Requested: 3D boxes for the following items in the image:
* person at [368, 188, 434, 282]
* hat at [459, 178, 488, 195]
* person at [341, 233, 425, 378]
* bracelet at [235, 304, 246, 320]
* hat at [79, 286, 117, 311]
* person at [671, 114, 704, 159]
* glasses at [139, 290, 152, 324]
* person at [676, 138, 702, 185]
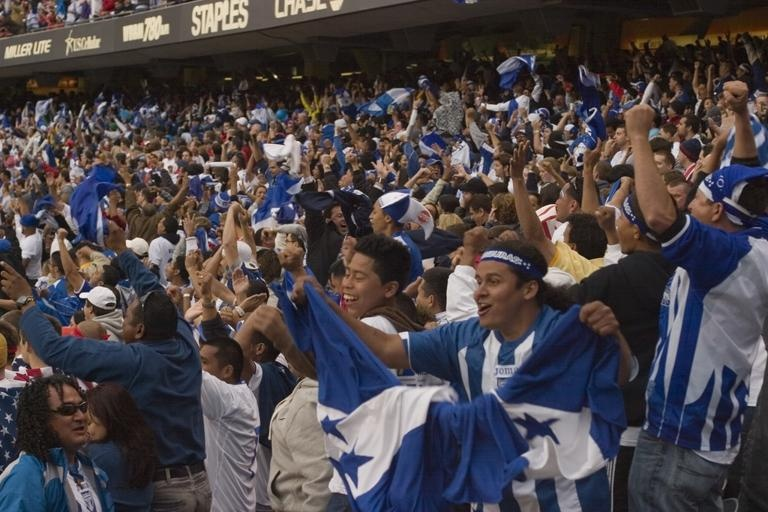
[{"bbox_3d":[0.175,-0.264,9.854,0.547,0.845,0.729,2,5,-12],"label":"person"},{"bbox_3d":[1.090,-0.840,11.215,0.253,0.153,0.178,2,6,-8],"label":"hat"},{"bbox_3d":[-0.079,0.277,7.576,0.561,1.036,1.026,-3,22,-20],"label":"person"},{"bbox_3d":[-1.387,0.533,9.116,0.075,0.119,0.112,-8,47,-45],"label":"bracelet"},{"bbox_3d":[-2.804,0.387,9.300,0.284,0.154,0.190,16,12,24],"label":"hat"},{"bbox_3d":[3.854,-1.538,11.892,0.360,0.554,0.705,6,27,31],"label":"person"},{"bbox_3d":[-2.008,0.388,7.876,0.059,0.220,0.203,0,0,-4],"label":"glasses"},{"bbox_3d":[3.512,-1.084,10.884,0.301,0.519,0.715,8,8,34],"label":"person"}]
